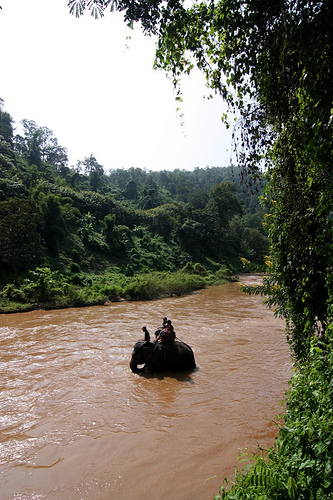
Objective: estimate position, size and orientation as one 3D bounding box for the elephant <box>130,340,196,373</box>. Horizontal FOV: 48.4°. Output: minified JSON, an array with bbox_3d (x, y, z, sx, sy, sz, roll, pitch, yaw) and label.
[{"bbox_3d":[-0.048,2.845,9.809,1.721,1.064,0.774,3,12,-16],"label":"elephant"}]
